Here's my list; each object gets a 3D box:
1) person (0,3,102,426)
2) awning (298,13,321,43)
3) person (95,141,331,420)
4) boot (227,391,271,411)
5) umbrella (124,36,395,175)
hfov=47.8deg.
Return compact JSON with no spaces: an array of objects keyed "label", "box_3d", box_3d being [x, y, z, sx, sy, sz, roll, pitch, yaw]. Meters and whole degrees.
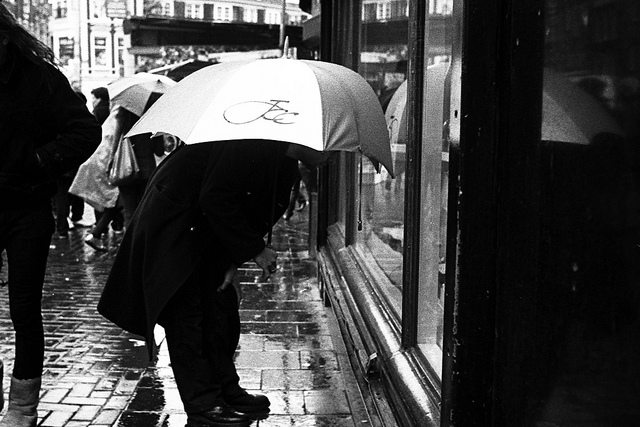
[{"label":"person","box_3d":[-1.645,0.032,4.295,0.562,2.489,0.268,-4,8,-39]},{"label":"awning","box_3d":[-0.120,-2.535,9.730,0.349,0.237,0.351,-4,-7,21]},{"label":"person","box_3d":[-0.684,0.427,4.412,1.121,1.757,0.717,-2,7,-27]},{"label":"boot","box_3d":[-0.457,1.196,4.648,0.270,0.117,0.102,-2,4,-13]},{"label":"umbrella","box_3d":[-0.351,-0.500,3.910,0.948,0.456,0.962,2,7,-30]}]
